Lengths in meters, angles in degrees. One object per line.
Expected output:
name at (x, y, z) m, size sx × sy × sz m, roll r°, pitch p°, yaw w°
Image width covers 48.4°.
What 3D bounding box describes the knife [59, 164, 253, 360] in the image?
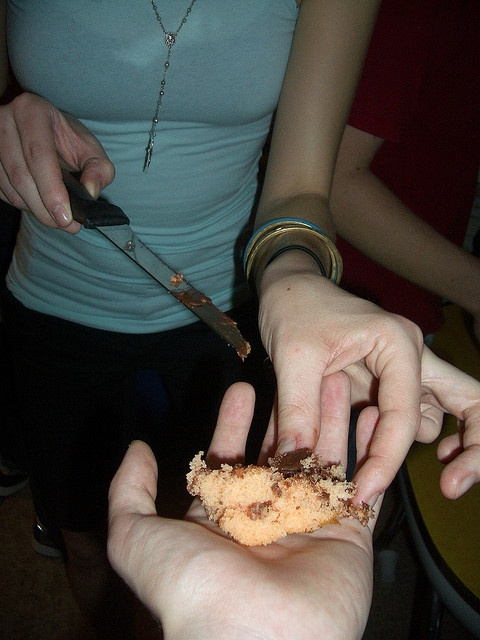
knife at (-0.165, -0.107, 0.969) m, size 0.523 × 0.078 × 0.044 m, roll 40°, pitch 71°, yaw -18°
